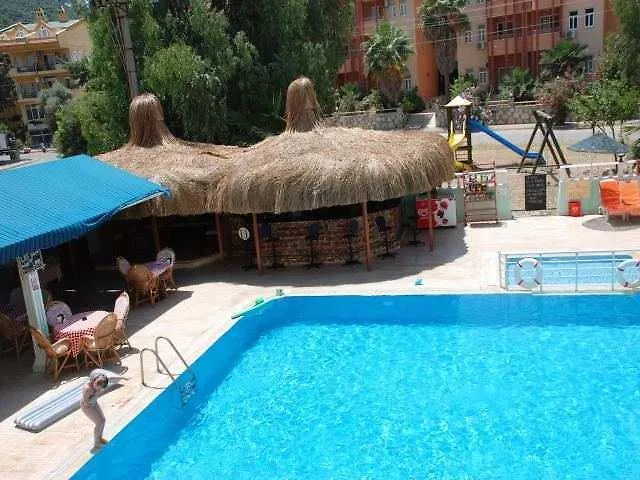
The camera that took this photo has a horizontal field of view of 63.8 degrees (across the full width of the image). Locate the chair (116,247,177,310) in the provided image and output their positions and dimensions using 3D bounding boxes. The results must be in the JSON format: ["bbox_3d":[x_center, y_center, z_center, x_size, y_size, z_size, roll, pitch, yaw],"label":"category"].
[{"bbox_3d":[-4.653,1.032,14.211,0.997,1.275,1.622,-1,16,13],"label":"chair"}]

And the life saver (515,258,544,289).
[{"bbox_3d":[5.068,0.813,12.604,0.635,0.752,0.352,1,16,19],"label":"life saver"}]

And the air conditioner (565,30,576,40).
[{"bbox_3d":[21.378,-17.725,44.177,1.015,0.922,0.552,1,-4,30],"label":"air conditioner"}]

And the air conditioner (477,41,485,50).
[{"bbox_3d":[14.847,-18.193,47.831,0.992,0.940,0.549,1,10,19],"label":"air conditioner"}]

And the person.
[{"bbox_3d":[-3.638,2.855,8.799,0.512,1.210,0.763,3,7,45],"label":"person"}]

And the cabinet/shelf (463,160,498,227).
[{"bbox_3d":[5.783,-1.637,18.642,1.257,1.907,1.065,0,16,16],"label":"cabinet/shelf"}]
